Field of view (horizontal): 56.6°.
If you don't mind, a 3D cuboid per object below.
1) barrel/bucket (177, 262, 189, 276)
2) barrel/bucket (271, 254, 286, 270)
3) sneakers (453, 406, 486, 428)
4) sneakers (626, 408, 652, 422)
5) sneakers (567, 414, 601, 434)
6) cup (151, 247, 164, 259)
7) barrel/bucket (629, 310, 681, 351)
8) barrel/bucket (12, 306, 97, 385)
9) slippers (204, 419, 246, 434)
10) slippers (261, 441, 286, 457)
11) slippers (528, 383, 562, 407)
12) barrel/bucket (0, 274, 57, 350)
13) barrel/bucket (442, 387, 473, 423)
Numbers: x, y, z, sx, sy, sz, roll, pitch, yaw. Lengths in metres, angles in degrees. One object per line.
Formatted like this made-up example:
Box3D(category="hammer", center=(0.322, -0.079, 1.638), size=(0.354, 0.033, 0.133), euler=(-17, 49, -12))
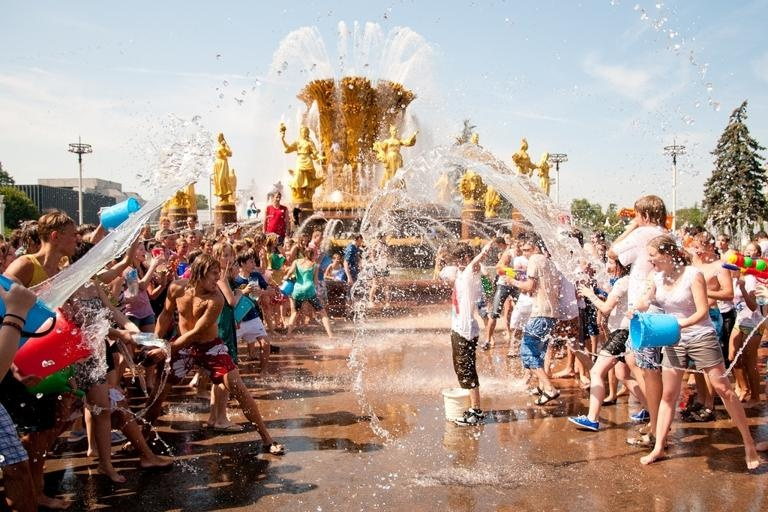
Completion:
Box3D(category="barrel/bucket", center=(-2.955, 0.188, 10.576), size=(0.144, 0.163, 0.145), euler=(10, 17, -3))
Box3D(category="barrel/bucket", center=(-2.112, 0.094, 14.329), size=(0.308, 0.300, 0.168), euler=(2, 0, -14))
Box3D(category="sneakers", center=(1.062, 1.964, 8.688), size=(0.413, 0.198, 0.153), euler=(0, -2, 0))
Box3D(category="sneakers", center=(3.150, 1.976, 8.864), size=(0.130, 0.127, 0.294), euler=(5, -5, -35))
Box3D(category="sneakers", center=(2.400, 2.012, 8.560), size=(0.365, 0.148, 0.156), euler=(7, 0, 19))
Box3D(category="cup", center=(-3.010, -0.048, 9.561), size=(0.147, 0.109, 0.146), euler=(0, 3, 0))
Box3D(category="barrel/bucket", center=(2.948, 0.814, 7.835), size=(0.478, 0.440, 0.441), euler=(-3, 27, 2))
Box3D(category="barrel/bucket", center=(-3.184, 0.906, 7.074), size=(0.680, 0.606, 0.570), euler=(-35, 4, -10))
Box3D(category="slippers", center=(-1.908, 2.077, 8.632), size=(0.356, 0.084, 0.189), euler=(1, -1, 5))
Box3D(category="slippers", center=(-1.224, 2.162, 7.989), size=(0.109, 0.081, 0.253), euler=(-1, 1, -39))
Box3D(category="slippers", center=(2.055, 1.818, 9.251), size=(0.239, 0.104, 0.319), euler=(-45, -1, -20))
Box3D(category="barrel/bucket", center=(-3.186, 0.518, 6.441), size=(0.432, 0.748, 0.632), euler=(-5, 11, -23))
Box3D(category="barrel/bucket", center=(0.907, 1.857, 8.915), size=(0.369, 0.289, 0.364), euler=(1, -1, 0))
